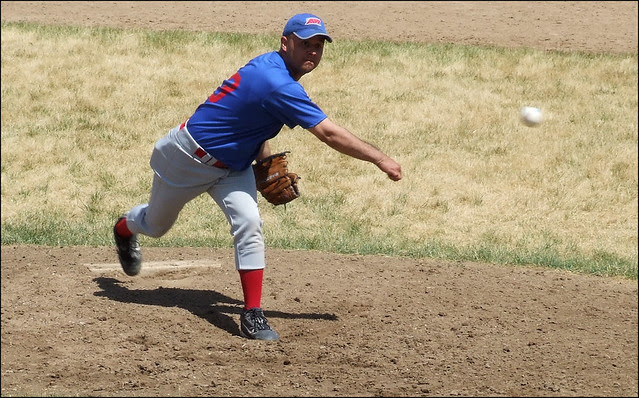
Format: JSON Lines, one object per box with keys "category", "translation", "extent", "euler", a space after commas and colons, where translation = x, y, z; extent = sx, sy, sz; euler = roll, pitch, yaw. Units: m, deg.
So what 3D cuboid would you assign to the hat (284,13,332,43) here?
{"category": "hat", "translation": [-0.168, -2.220, 11.177], "extent": [0.420, 0.253, 0.570], "euler": [-4, 9, -44]}
